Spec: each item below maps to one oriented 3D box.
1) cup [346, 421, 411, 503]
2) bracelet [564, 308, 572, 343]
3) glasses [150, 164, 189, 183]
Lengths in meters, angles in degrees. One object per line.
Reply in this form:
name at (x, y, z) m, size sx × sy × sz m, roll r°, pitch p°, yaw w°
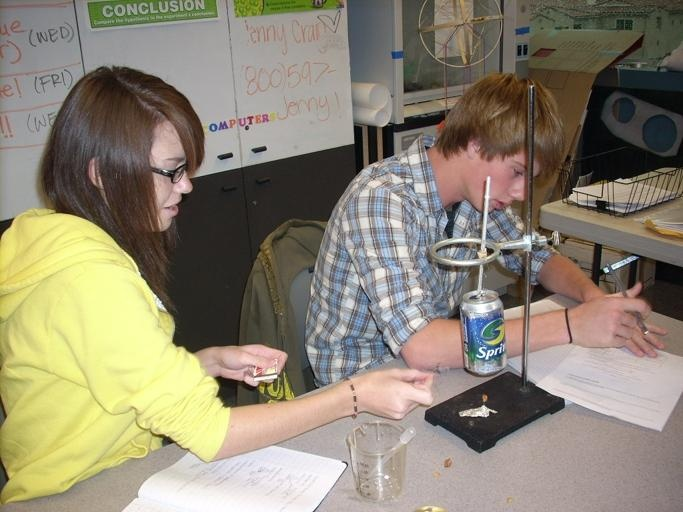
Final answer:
cup at (0.096, 0.464, 1.175) m, size 0.152 × 0.147 × 0.122 m, roll -3°, pitch 12°, yaw 2°
bracelet at (0.662, 0.199, 1.517) m, size 0.016 × 0.072 × 0.055 m, roll -6°, pitch 2°, yaw 12°
glasses at (-0.402, -0.198, 1.234) m, size 0.048 × 0.015 × 0.050 m, roll 20°, pitch 30°, yaw 16°
